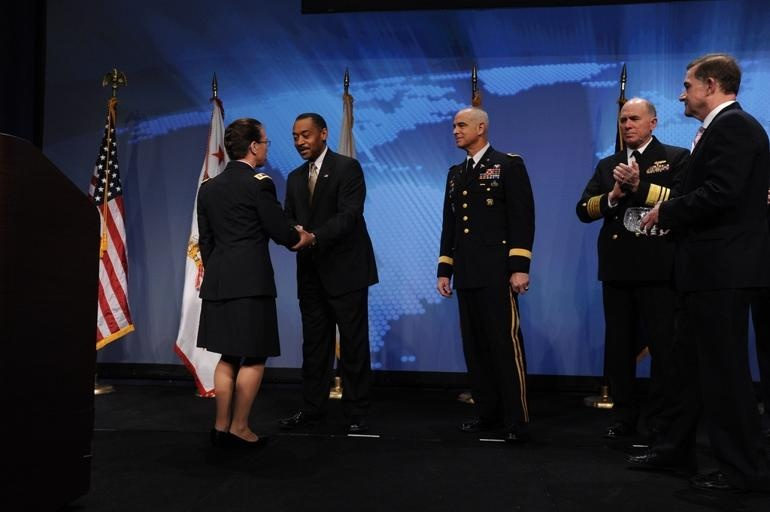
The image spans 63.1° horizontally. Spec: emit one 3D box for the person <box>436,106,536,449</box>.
[{"bbox_3d":[0.657,0.085,3.916,0.650,2.039,0.349,5,8,44],"label":"person"}]

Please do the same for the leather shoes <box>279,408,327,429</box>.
[{"bbox_3d":[-0.536,1.059,4.084,0.276,0.119,0.095,3,-2,-29],"label":"leather shoes"}]

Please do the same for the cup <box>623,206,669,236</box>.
[{"bbox_3d":[1.397,-0.190,3.342,0.197,0.117,0.129,7,-22,-5],"label":"cup"}]

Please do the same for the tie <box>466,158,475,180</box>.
[{"bbox_3d":[0.538,-0.552,3.960,0.062,0.105,0.026,-5,-9,37],"label":"tie"}]

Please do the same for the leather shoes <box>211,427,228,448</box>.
[{"bbox_3d":[-0.954,1.049,3.599,0.091,0.098,0.111,4,-26,3],"label":"leather shoes"}]

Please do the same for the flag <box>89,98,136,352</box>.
[{"bbox_3d":[-2.181,-0.283,4.950,0.249,1.955,0.459,-3,6,-25],"label":"flag"}]

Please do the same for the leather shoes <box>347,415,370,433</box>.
[{"bbox_3d":[-0.167,1.045,3.884,0.118,0.089,0.083,0,6,-3],"label":"leather shoes"}]

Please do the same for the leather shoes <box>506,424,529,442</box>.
[{"bbox_3d":[0.782,1.068,3.724,0.073,0.071,0.160,-7,-14,40],"label":"leather shoes"}]

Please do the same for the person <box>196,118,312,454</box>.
[{"bbox_3d":[-0.789,0.143,3.662,0.604,1.896,0.380,-1,6,-14],"label":"person"}]

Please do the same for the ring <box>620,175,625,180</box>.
[{"bbox_3d":[1.333,-0.439,3.508,0.022,0.022,0.013,3,6,19],"label":"ring"}]

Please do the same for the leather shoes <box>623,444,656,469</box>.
[{"bbox_3d":[1.372,1.094,3.414,0.222,0.095,0.099,-9,-8,40],"label":"leather shoes"}]

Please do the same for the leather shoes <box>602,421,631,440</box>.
[{"bbox_3d":[1.421,1.068,3.855,0.151,0.067,0.088,-7,3,-10],"label":"leather shoes"}]
